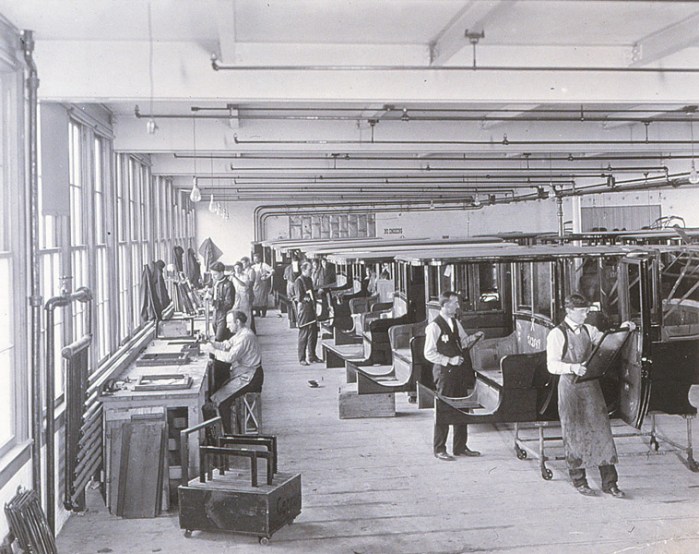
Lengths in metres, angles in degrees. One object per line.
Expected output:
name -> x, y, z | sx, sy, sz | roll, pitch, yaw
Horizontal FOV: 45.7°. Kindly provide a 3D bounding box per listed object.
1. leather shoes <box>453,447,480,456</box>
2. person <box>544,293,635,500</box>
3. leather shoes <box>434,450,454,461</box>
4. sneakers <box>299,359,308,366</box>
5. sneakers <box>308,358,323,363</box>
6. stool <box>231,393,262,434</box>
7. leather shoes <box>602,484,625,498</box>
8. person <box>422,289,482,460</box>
leather shoes -> 1.516, 2.254, 10.771 | 0.350, 0.167, 0.137 | -2, -3, -4
person -> 2.678, 1.332, 9.407 | 0.852, 2.281, 0.670 | 0, 8, 12
leather shoes -> 1.212, 2.271, 10.570 | 0.109, 0.084, 0.209 | 5, -8, -43
sneakers -> -0.932, 1.731, 16.772 | 0.077, 0.104, 0.224 | 1, -7, -36
sneakers -> -0.704, 1.716, 17.009 | 0.328, 0.151, 0.116 | -1, 0, -14
stool -> -1.341, 1.872, 11.393 | 0.210, 0.390, 0.219 | -3, -16, 28
leather shoes -> 2.977, 2.419, 9.340 | 0.100, 0.131, 0.293 | 7, -12, -12
person -> 1.299, 1.275, 10.604 | 0.626, 2.165, 1.314 | 3, 9, 28
